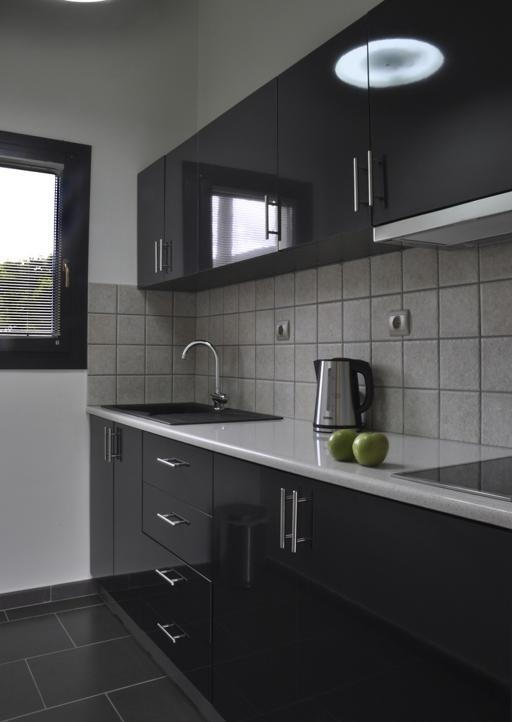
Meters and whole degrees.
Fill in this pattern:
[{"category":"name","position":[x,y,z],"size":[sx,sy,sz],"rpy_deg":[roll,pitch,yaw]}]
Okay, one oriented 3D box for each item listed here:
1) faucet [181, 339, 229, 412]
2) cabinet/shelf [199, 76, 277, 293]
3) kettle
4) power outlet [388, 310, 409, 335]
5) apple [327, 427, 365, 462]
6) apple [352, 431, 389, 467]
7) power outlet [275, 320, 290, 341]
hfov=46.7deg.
[{"category":"faucet","position":[-0.222,0.060,2.850],"size":[0.155,0.344,0.629],"rpy_deg":[-1,-3,-5]},{"category":"cabinet/shelf","position":[-0.071,-0.609,2.171],"size":[0.288,0.561,0.818],"rpy_deg":[-1,-3,-5]},{"category":"kettle","position":[0.274,0.101,1.806],"size":[0.188,0.231,0.127],"rpy_deg":[2,4,27]},{"category":"power outlet","position":[0.421,-0.109,1.747],"size":[0.007,0.074,0.089],"rpy_deg":[1,-4,-27]},{"category":"apple","position":[0.178,0.172,1.222],"size":[0.053,0.067,0.060],"rpy_deg":[1,-7,12]},{"category":"apple","position":[0.221,0.168,1.152],"size":[0.058,0.069,0.066],"rpy_deg":[-3,10,-5]},{"category":"power outlet","position":[0.106,-0.123,2.357],"size":[0.011,0.070,0.075],"rpy_deg":[1,-2,-23]}]
